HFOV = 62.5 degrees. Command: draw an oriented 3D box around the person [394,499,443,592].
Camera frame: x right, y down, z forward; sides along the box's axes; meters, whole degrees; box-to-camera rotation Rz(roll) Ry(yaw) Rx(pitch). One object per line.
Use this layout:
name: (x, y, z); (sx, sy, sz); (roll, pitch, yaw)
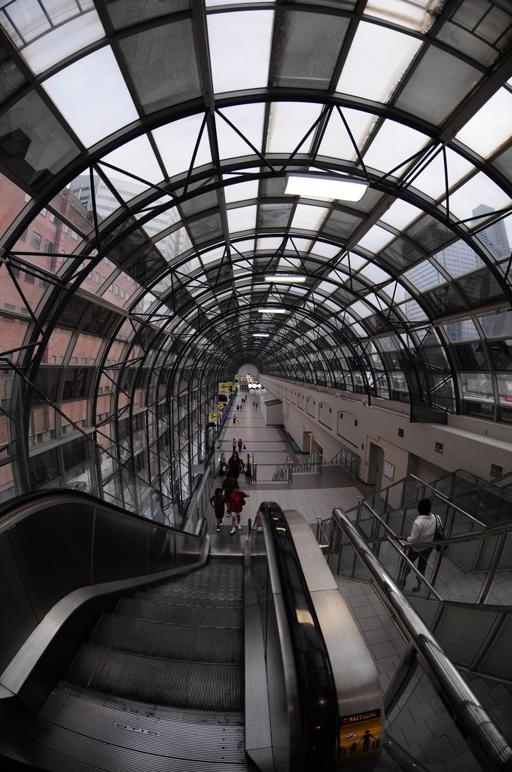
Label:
person: (2.454, 2.276, 6.221); (0.582, 1.231, 1.675); (0, -3, 24)
